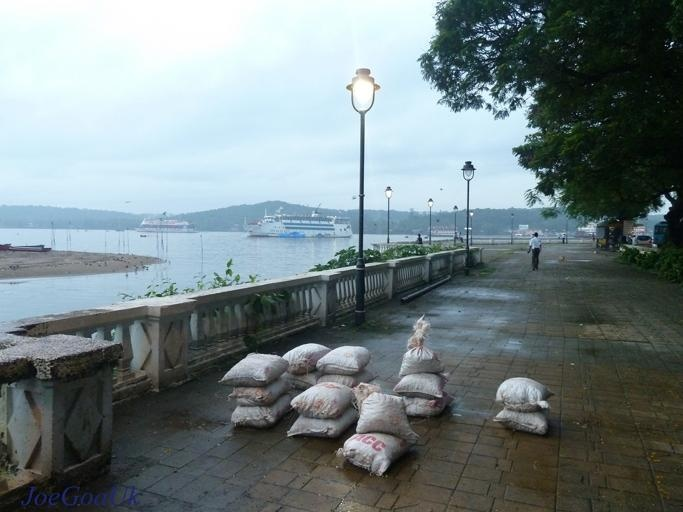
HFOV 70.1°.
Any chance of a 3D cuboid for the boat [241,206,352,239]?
[{"bbox_3d":[-11.499,-9.050,141.731,26.567,8.118,12.312,0,6,-5],"label":"boat"}]
